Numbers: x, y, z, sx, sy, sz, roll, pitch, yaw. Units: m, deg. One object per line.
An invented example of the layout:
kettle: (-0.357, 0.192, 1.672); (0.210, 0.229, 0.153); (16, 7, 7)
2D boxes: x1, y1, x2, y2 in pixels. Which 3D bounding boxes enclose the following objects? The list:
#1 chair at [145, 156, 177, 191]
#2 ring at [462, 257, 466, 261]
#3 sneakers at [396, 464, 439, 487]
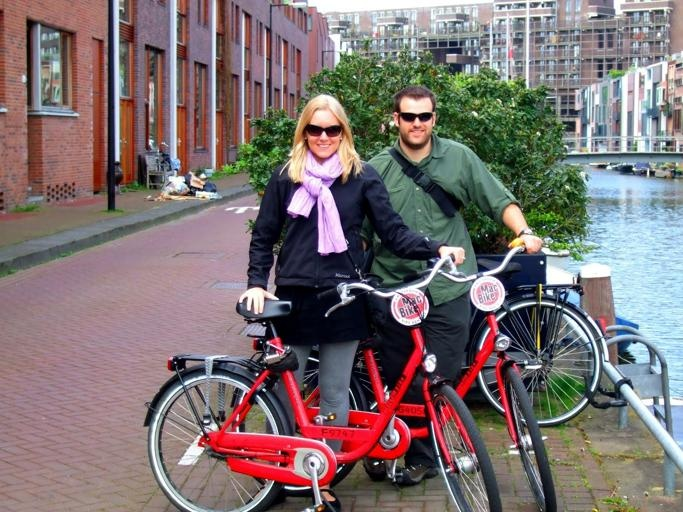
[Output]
chair: (-6.822, -3.035, 26.817); (0.838, 1.007, 0.849); (3, 10, 11)
ring: (0.675, 0.014, 4.055); (0.022, 0.008, 0.032); (-3, 16, 22)
sneakers: (0.433, 1.348, 4.509); (0.321, 0.137, 0.111); (4, 0, -21)
